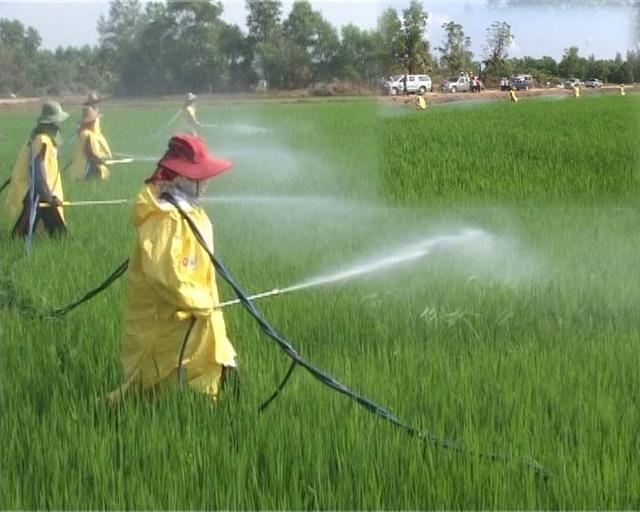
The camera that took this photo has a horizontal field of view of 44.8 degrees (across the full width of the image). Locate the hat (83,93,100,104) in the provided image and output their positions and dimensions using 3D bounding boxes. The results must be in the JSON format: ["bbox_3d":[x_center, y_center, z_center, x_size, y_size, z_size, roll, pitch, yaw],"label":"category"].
[{"bbox_3d":[-4.479,-3.077,15.174,0.267,0.180,0.653,0,13,-10],"label":"hat"}]

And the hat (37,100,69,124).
[{"bbox_3d":[-3.498,-1.841,10.171,0.347,0.257,0.388,-20,24,-20],"label":"hat"}]

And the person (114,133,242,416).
[{"bbox_3d":[-1.187,0.231,6.483,1.027,2.408,0.919,18,23,33],"label":"person"}]

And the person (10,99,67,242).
[{"bbox_3d":[-3.751,-1.120,10.305,0.801,1.883,1.368,-2,13,-19],"label":"person"}]

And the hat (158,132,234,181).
[{"bbox_3d":[-1.032,-0.809,6.290,0.538,0.257,0.585,6,-4,11],"label":"hat"}]
